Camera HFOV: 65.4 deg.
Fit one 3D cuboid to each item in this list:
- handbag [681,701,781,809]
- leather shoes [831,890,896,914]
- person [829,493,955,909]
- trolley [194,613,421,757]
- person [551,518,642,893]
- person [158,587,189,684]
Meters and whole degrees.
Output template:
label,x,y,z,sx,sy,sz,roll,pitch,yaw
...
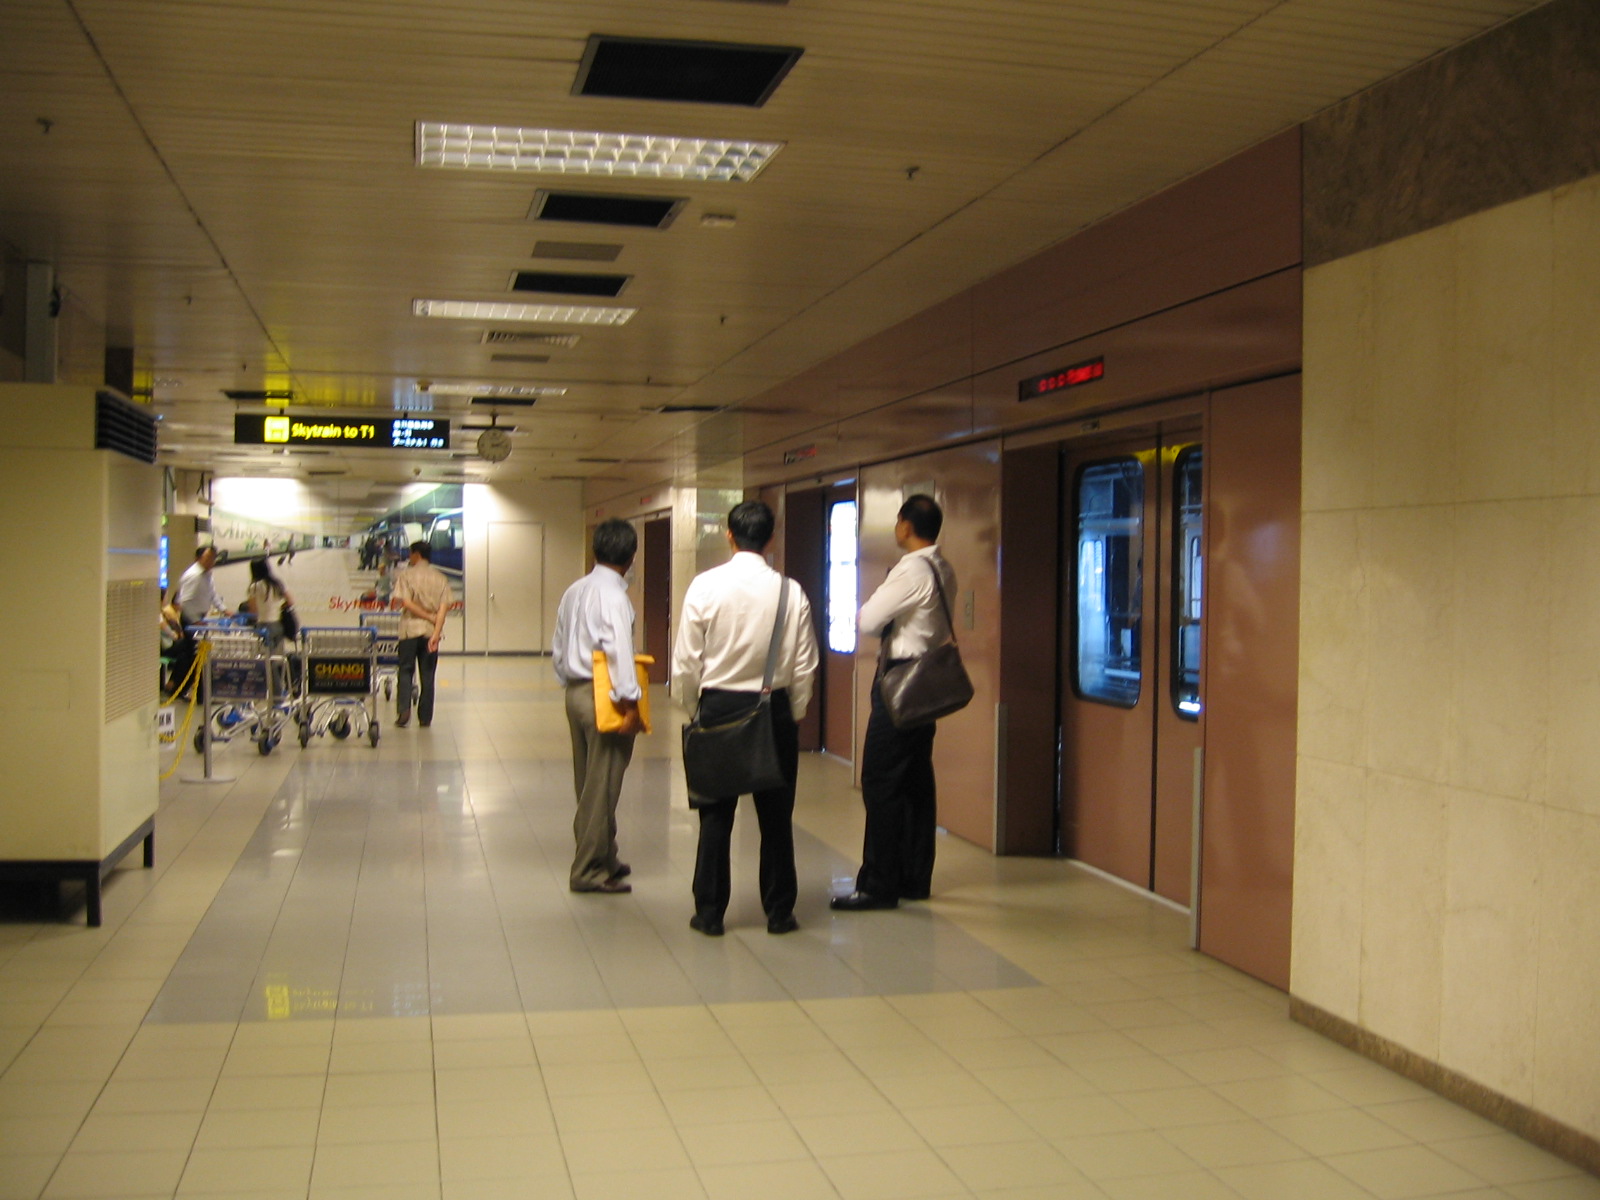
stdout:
label,x,y,z,sx,sy,sz,roll,pitch,yaw
handbag,-0.317,0.721,5.773,0.498,0.483,0.186,-19,-28,32
leather shoes,0.325,1.564,6.487,0.332,0.152,0.126,6,-6,-6
person,0.507,0.527,6.471,0.563,2.132,0.545,1,2,7
trolley,-4.840,0.827,11.982,1.029,1.285,1.859,0,8,-8
person,-1.085,0.564,6.709,0.432,2.004,0.955,0,2,-10
person,-5.591,0.378,11.182,0.220,0.747,1.543,0,3,-28
